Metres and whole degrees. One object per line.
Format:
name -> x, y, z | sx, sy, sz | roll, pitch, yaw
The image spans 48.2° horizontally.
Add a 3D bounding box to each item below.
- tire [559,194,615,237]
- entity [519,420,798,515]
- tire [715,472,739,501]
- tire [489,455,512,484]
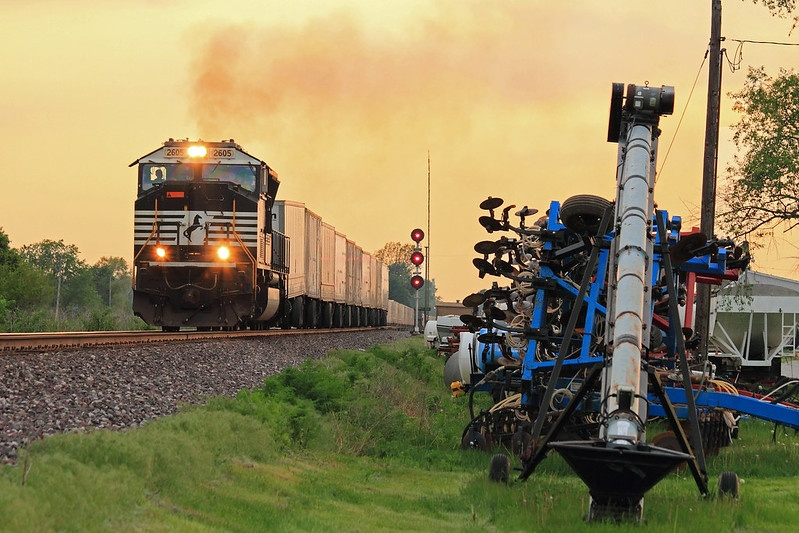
tire -> 3.177, -0.854, 14.942 | 0.976, 0.366, 1.005 | -7, -31, 33
entity -> 3.616, 2.850, 12.429 | 1.935, 1.146, 4.178 | 16, 4, 31
tire -> 4.583, 3.086, 12.487 | 0.307, 0.351, 0.340 | -2, 7, 5
tire -> 1.521, 3.082, 13.517 | 0.264, 0.444, 0.415 | 4, 5, 8
